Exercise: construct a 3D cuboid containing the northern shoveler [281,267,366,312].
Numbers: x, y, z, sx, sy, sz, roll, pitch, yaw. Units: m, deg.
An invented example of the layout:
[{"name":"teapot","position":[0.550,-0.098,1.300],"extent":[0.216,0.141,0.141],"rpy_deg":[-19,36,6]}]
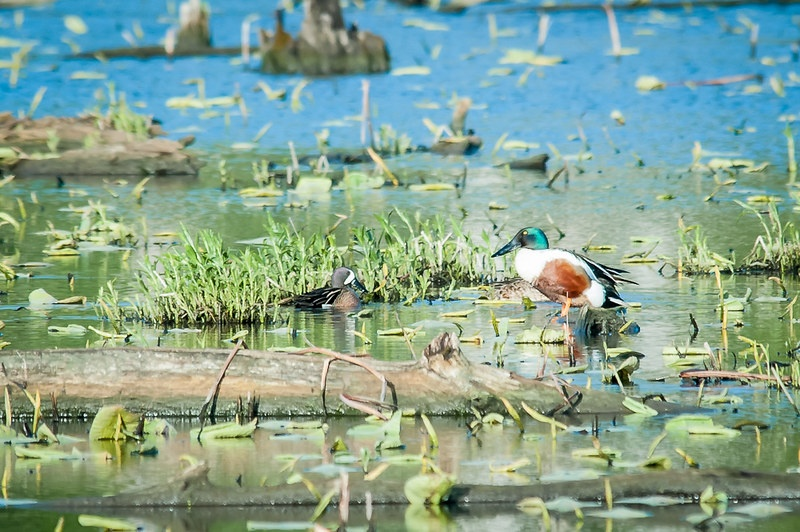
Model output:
[{"name":"northern shoveler","position":[-0.962,0.310,12.744],"extent":[1.215,0.482,0.385],"rpy_deg":[-4,17,-29]}]
